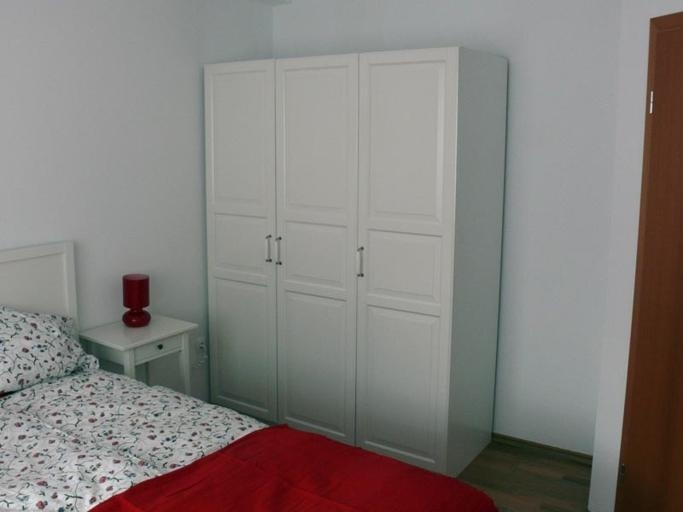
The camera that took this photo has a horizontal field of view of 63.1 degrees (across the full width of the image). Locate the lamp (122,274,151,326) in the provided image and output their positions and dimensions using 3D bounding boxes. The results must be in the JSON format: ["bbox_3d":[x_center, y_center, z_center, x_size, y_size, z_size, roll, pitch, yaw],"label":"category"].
[{"bbox_3d":[-1.229,0.269,3.338,0.159,0.297,0.155,-5,12,-37],"label":"lamp"}]

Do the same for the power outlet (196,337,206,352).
[{"bbox_3d":[-0.978,0.613,3.848,0.058,0.093,0.089,5,9,32],"label":"power outlet"}]

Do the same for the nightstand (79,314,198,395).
[{"bbox_3d":[-1.197,0.472,3.319,0.412,0.555,0.559,8,13,35],"label":"nightstand"}]

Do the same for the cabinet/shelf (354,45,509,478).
[{"bbox_3d":[0.550,0.038,3.463,0.791,2.523,0.866,3,9,19],"label":"cabinet/shelf"}]
